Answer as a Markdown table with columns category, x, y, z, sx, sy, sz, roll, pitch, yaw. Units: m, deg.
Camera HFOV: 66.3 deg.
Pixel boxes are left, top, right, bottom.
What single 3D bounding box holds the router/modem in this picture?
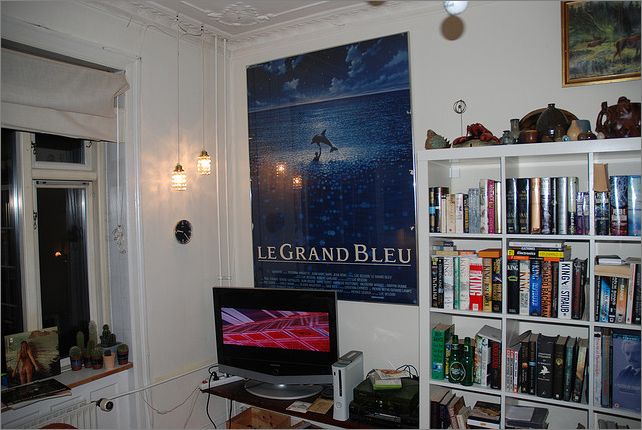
| category | x | y | z | sx | sy | sz | roll | pitch | yaw |
| --- | --- | --- | --- | --- | --- | --- | --- | --- | --- |
| router/modem | 0.497 | 1.353 | 3.779 | 0.495 | 0.208 | 0.304 | -3 | -1 | 12 |

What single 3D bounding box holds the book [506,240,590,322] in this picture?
| category | x | y | z | sx | sy | sz | roll | pitch | yaw |
| --- | --- | --- | --- | --- | --- | --- | --- | --- | --- |
| book | 1.482 | 0.434 | 3.266 | 0.464 | 0.456 | 0.025 | -3 | -2 | 20 |

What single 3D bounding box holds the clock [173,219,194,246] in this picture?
| category | x | y | z | sx | sy | sz | roll | pitch | yaw |
| --- | --- | --- | --- | --- | --- | --- | --- | --- | --- |
| clock | -1.194 | 0.150 | 4.253 | 0.047 | 0.215 | 0.196 | -3 | -1 | 31 |

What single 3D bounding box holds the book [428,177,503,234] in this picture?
| category | x | y | z | sx | sy | sz | roll | pitch | yaw |
| --- | --- | --- | --- | --- | --- | --- | --- | --- | --- |
| book | 1.054 | -0.095 | 3.500 | 0.468 | 0.393 | 0.177 | 4 | 6 | 23 |

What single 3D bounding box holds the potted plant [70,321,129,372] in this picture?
| category | x | y | z | sx | sy | sz | roll | pitch | yaw |
| --- | --- | --- | --- | --- | --- | --- | --- | --- | --- |
| potted plant | -1.767 | 1.039 | 3.893 | 0.403 | 0.353 | 0.266 | -1 | -2 | -43 |

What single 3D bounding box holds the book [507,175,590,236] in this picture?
| category | x | y | z | sx | sy | sz | roll | pitch | yaw |
| --- | --- | --- | --- | --- | --- | --- | --- | --- | --- |
| book | 1.498 | -0.058 | 3.283 | 0.593 | 0.554 | 0.336 | 1 | 3 | 27 |

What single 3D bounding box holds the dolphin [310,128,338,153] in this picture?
| category | x | y | z | sx | sy | sz | roll | pitch | yaw |
| --- | --- | --- | --- | --- | --- | --- | --- | --- | --- |
| dolphin | 0.015 | -0.637 | 4.242 | 0.272 | 0.198 | 0.116 | 33 | 56 | 24 |

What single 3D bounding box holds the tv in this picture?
| category | x | y | z | sx | sy | sz | roll | pitch | yaw |
| --- | --- | --- | --- | --- | --- | --- | --- | --- | --- |
| tv | -0.365 | 1.033 | 4.019 | 1.185 | 0.801 | 0.269 | 3 | 2 | 30 |
